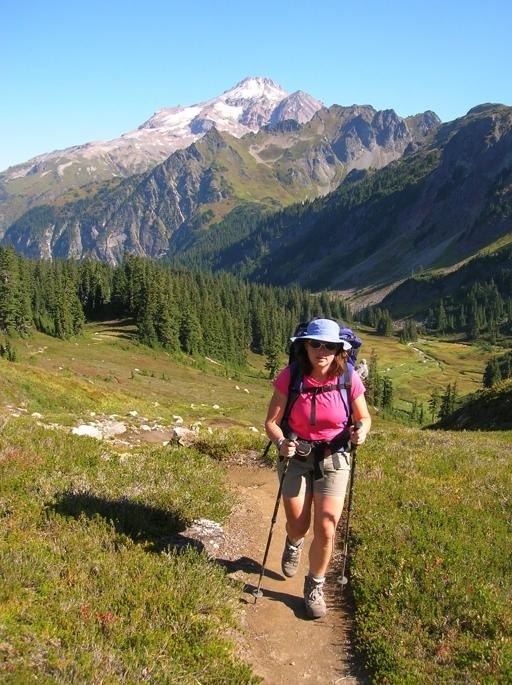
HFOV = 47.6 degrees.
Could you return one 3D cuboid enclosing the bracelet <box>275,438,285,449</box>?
[{"bbox_3d":[0.322,1.399,8.055,0.107,0.144,0.055,-4,41,-24],"label":"bracelet"}]
